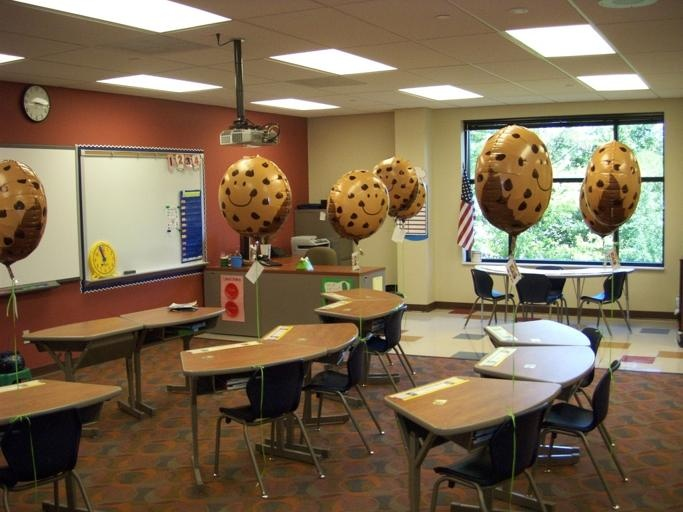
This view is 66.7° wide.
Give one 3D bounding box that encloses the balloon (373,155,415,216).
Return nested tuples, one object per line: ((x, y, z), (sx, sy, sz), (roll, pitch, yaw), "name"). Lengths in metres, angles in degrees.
((0.734, -0.975, 7.112), (0.568, 0.686, 0.395), (-33, 19, -7), "balloon")

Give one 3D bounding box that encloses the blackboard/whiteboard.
((-3.227, -0.498, 7.030), (0.203, 1.616, 2.438), (1, 4, 33), "blackboard/whiteboard")

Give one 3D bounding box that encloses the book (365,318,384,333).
((0.363, 0.792, 5.880), (0.186, 0.167, 0.174), (-2, -4, -35), "book")

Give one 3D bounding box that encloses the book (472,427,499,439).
((0.906, 1.162, 3.316), (0.142, 0.111, 0.048), (-6, 38, -22), "book")

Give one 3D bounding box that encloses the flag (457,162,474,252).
((2.439, -0.887, 10.300), (0.260, 1.653, 0.405), (4, 9, 40), "flag")

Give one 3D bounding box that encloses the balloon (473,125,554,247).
((1.153, -0.473, 3.490), (0.602, 0.829, 0.458), (2, 1, -44), "balloon")

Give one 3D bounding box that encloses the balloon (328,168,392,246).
((0.180, -0.551, 5.885), (0.765, 0.838, 0.721), (2, 18, -2), "balloon")

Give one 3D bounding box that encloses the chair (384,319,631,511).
((1.186, 1.217, 3.953), (0.929, 0.779, 1.968), (5, 9, 41), "chair")

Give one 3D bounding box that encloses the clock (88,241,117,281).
((-3.446, 0.070, 7.437), (0.095, 0.605, 0.545), (-2, 1, 27), "clock")

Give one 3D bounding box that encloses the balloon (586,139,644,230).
((2.729, -0.720, 5.249), (0.546, 0.913, 0.642), (0, 12, 24), "balloon")

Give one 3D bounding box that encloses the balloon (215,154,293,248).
((-0.724, -0.540, 4.901), (0.698, 0.813, 0.694), (1, 2, 8), "balloon")

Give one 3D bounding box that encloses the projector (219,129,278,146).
((-0.971, -1.251, 5.486), (0.537, 0.165, 0.330), (-6, 8, -31), "projector")
